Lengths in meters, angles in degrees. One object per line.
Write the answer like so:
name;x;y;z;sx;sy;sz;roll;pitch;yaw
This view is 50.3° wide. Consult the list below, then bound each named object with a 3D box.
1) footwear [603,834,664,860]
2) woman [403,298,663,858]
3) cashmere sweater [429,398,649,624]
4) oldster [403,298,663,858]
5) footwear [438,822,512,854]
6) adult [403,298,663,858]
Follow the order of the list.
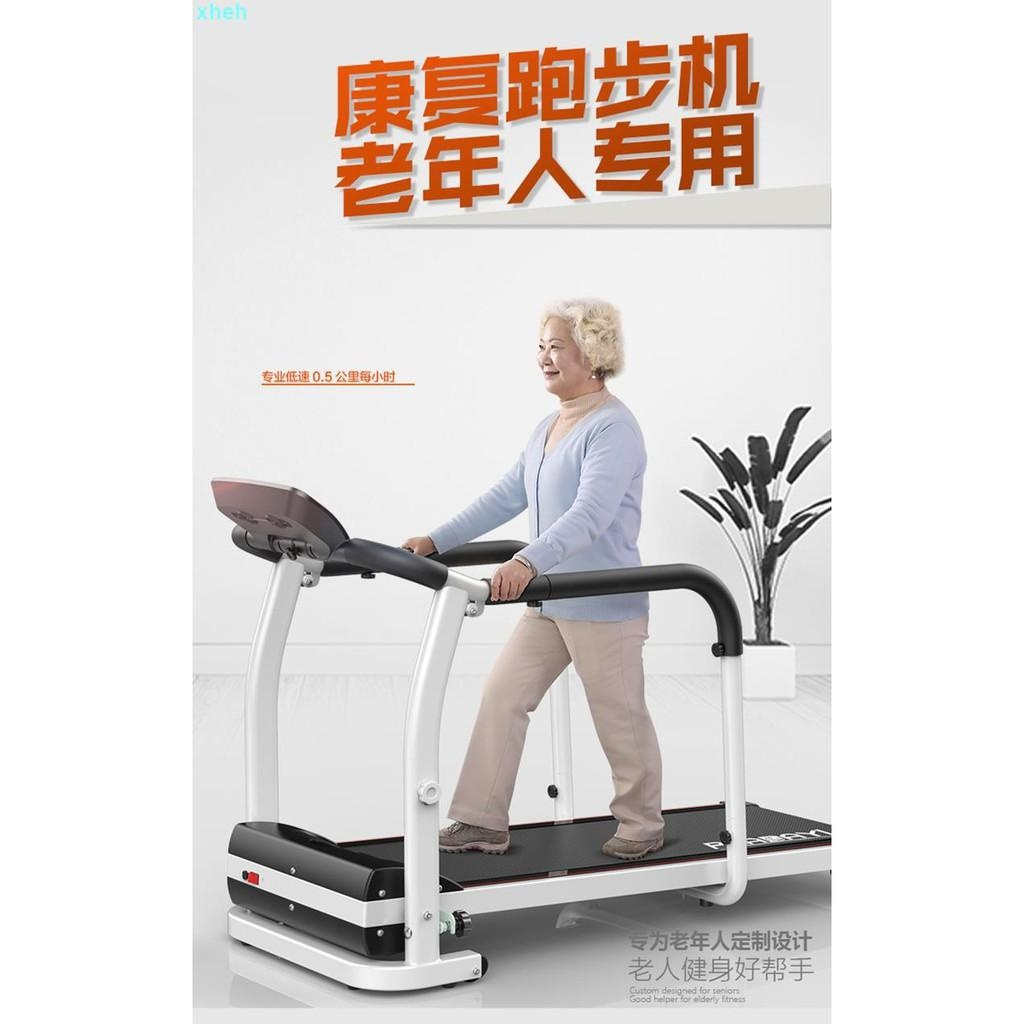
footwear;0.318;0.882;2.867;0.152;0.060;0.054;6;-13;-28
woman;0.060;0.196;2.923;0.985;1.588;0.741;1;1;-16
cashmere sweater;0.095;-0.055;2.995;0.582;0.630;0.443;1;20;-24
oldster;0.061;0.193;2.927;0.964;1.538;0.744;-2;3;-5
footwear;-0.095;0.873;2.931;0.196;0.074;0.072;5;-10;3
adult;0.072;0.163;3.081;0.803;1.433;0.620;0;0;-21
